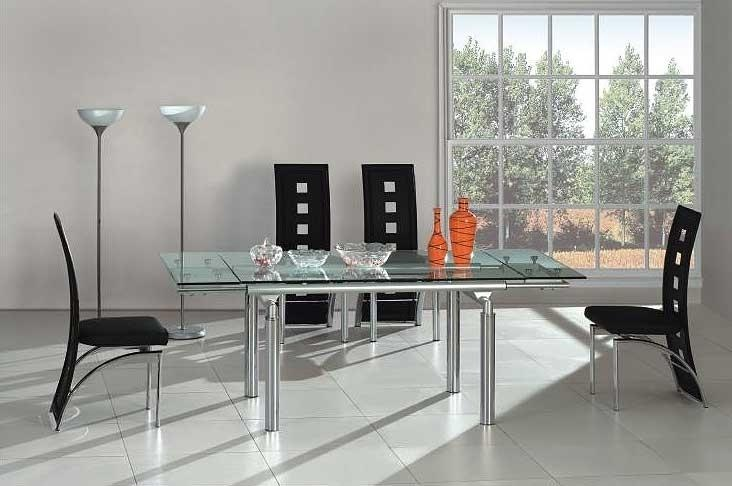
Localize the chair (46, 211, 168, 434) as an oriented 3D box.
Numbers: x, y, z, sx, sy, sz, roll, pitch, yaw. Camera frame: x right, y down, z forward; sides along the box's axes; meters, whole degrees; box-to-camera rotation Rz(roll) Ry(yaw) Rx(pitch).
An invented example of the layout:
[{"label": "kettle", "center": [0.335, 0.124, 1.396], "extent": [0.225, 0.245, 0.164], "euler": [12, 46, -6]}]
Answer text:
[{"label": "chair", "center": [-1.926, 0.487, 4.651], "extent": [0.833, 1.416, 1.210], "euler": [-5, 13, -23]}]

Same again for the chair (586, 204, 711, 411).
[{"label": "chair", "center": [2.078, 0.459, 4.823], "extent": [1.107, 1.331, 1.016], "euler": [-5, 4, -26]}]
